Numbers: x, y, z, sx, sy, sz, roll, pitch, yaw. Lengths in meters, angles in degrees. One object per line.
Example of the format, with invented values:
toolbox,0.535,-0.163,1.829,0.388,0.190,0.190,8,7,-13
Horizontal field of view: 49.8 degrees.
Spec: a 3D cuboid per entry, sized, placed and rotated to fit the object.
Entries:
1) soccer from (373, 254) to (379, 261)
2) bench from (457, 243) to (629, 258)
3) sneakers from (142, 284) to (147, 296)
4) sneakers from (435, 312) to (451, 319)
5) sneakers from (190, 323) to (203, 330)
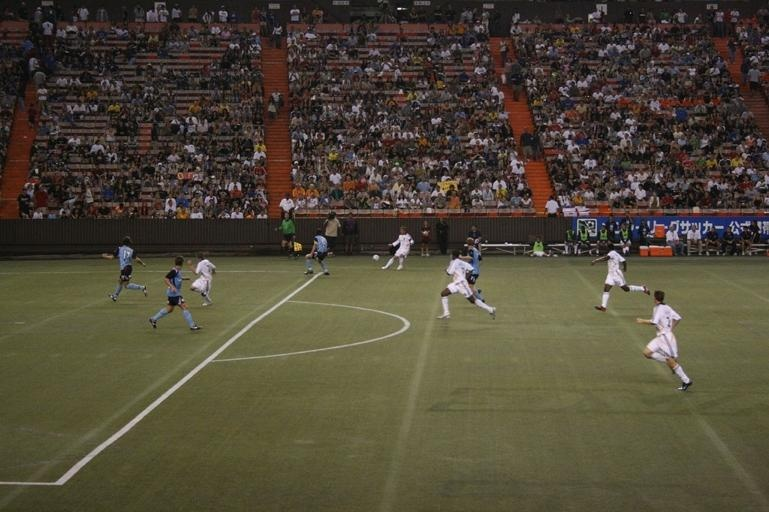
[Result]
soccer,-0.373,0.116,43.257,0.353,0.282,0.276,-16,41,-13
bench,9.797,-0.171,50.832,6.443,0.960,0.554,0,7,-1
sneakers,-9.849,1.441,34.067,0.134,0.400,0.179,-2,19,-3
sneakers,2.128,2.165,29.717,0.492,0.230,0.185,1,1,10
sneakers,-6.369,2.407,28.075,0.309,0.211,0.102,-20,43,-18
